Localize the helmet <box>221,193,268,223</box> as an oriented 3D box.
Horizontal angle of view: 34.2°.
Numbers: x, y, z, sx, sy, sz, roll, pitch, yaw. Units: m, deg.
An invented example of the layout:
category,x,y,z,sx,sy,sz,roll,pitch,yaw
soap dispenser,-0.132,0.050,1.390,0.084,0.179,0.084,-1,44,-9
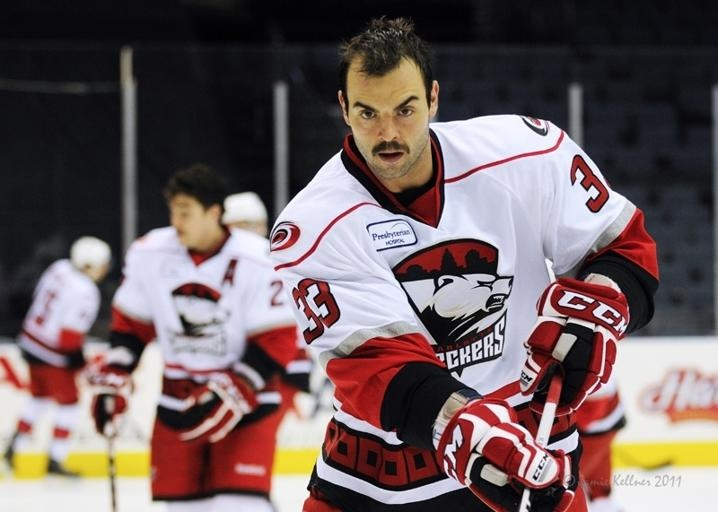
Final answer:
category,x,y,z,sx,sy,sz,roll,pitch,yaw
helmet,-0.963,-0.474,9.661,0.312,0.152,0.453,-21,11,8
